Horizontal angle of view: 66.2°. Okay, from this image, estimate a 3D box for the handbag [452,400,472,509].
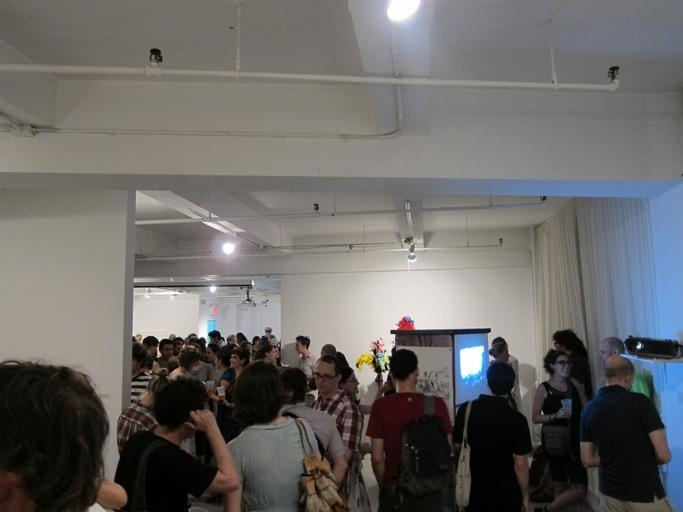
[{"bbox_3d":[0.871,1.458,3.722,0.109,0.803,0.213,-1,-1,19],"label":"handbag"}]

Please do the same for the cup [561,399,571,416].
[{"bbox_3d":[2.026,1.371,4.726,0.124,0.155,0.061,0,-1,-10],"label":"cup"}]

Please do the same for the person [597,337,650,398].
[{"bbox_3d":[2.692,1.035,4.899,0.460,0.637,0.860,-1,-7,21],"label":"person"}]

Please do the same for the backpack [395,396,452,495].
[{"bbox_3d":[0.565,1.314,3.600,0.373,0.574,0.319,6,-18,-28],"label":"backpack"}]

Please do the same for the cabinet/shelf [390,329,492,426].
[{"bbox_3d":[1.086,1.079,5.013,0.490,0.768,0.513,-2,-4,-32],"label":"cabinet/shelf"}]
